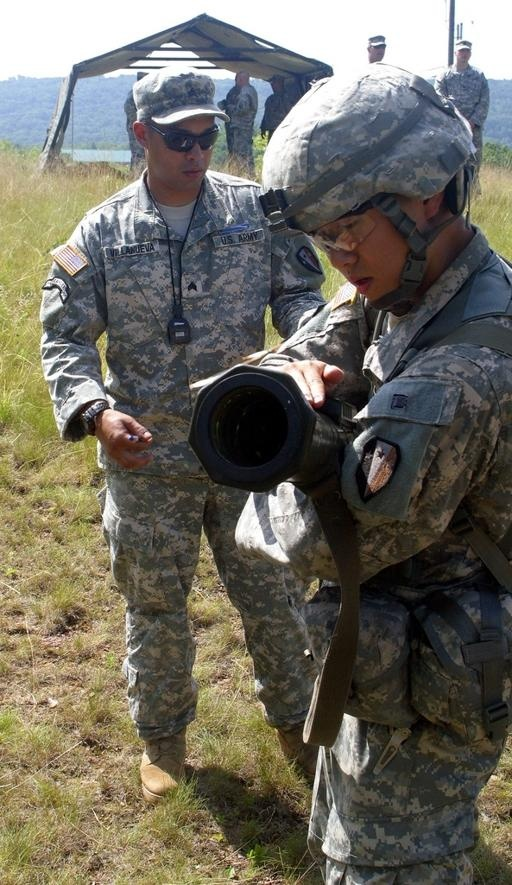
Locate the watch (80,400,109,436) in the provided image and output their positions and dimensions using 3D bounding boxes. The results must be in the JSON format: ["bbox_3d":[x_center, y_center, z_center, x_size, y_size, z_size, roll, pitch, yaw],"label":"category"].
[{"bbox_3d":[-0.486,-0.068,2.329,0.087,0.116,0.094,0,16,-8],"label":"watch"}]

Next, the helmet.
[{"bbox_3d":[0.185,-0.495,1.309,0.350,0.274,0.170,2,16,-1],"label":"helmet"}]
